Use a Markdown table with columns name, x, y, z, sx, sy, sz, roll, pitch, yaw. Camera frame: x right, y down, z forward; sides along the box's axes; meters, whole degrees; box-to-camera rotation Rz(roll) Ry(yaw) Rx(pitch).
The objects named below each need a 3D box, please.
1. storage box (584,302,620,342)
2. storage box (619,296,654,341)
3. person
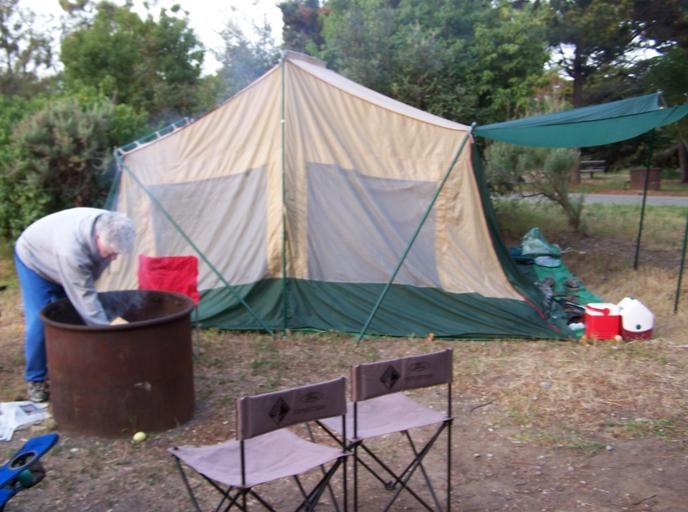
| name | x | y | z | sx | sy | sz | roll | pitch | yaw |
| --- | --- | --- | --- | --- | --- | --- | --- | --- | --- |
| storage box | 3.128 | 0.788 | 8.478 | 0.409 | 0.413 | 0.427 | 0 | 6 | 15 |
| storage box | 3.518 | 0.745 | 8.650 | 0.427 | 0.525 | 0.546 | -2 | 3 | 7 |
| person | -2.614 | 0.502 | 6.795 | 1.355 | 1.913 | 0.478 | 2 | 7 | 35 |
